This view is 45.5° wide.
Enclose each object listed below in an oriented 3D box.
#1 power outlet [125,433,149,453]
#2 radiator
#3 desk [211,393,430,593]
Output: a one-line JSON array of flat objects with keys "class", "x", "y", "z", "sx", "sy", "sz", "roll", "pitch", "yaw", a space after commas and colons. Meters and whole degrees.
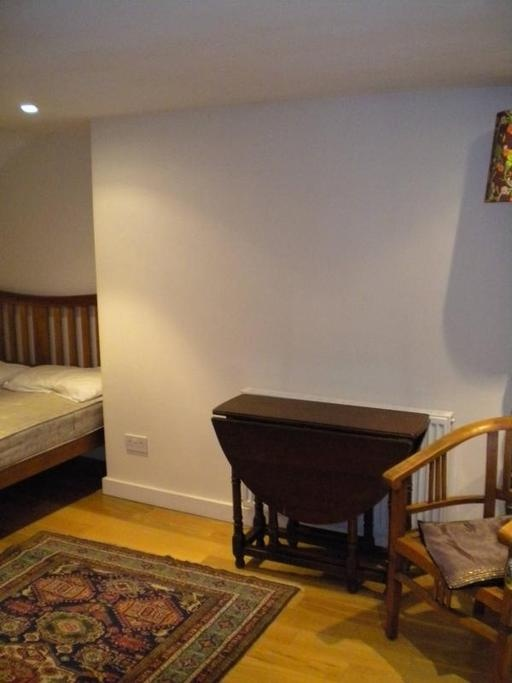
[{"class": "power outlet", "x": -0.674, "y": 0.571, "z": 3.478, "sx": 0.133, "sy": 0.100, "sz": 0.022, "roll": 6, "pitch": 16, "yaw": 27}, {"class": "radiator", "x": 0.397, "y": 0.506, "z": 2.515, "sx": 0.836, "sy": 0.535, "sz": 0.058, "roll": 6, "pitch": 12, "yaw": 27}, {"class": "desk", "x": 0.279, "y": 0.673, "z": 2.655, "sx": 0.891, "sy": 0.703, "sz": 0.318, "roll": 1, "pitch": 4, "yaw": 28}]
